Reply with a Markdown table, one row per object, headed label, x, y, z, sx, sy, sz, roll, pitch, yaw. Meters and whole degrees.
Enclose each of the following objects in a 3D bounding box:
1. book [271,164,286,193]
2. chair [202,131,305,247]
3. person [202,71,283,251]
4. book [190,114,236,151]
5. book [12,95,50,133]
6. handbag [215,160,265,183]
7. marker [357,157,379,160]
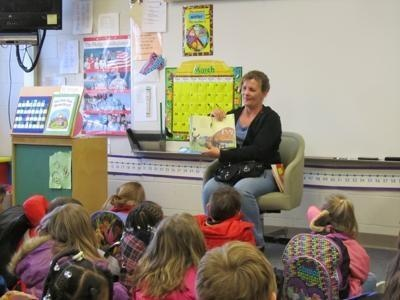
| label | x | y | z | sx | sy | sz | roll | pitch | yaw |
| --- | --- | --- | --- | --- | --- | --- | --- | --- | --- |
| book | 0.700 | 0.254 | 3.288 | 0.114 | 0.243 | 0.109 | 3 | 3 | 12 |
| chair | 0.471 | 0.300 | 3.478 | 0.816 | 1.051 | 0.834 | -2 | -4 | 39 |
| person | 0.440 | 0.094 | 3.467 | 0.795 | 1.549 | 0.587 | -15 | 16 | -21 |
| book | 0.111 | -0.150 | 3.308 | 0.327 | 0.367 | 0.081 | 0 | -6 | -11 |
| book | -1.753 | -0.377 | 3.843 | 0.394 | 0.409 | 0.095 | 3 | -12 | 18 |
| handbag | 0.358 | 0.213 | 3.292 | 0.448 | 0.226 | 0.191 | 3 | 3 | 6 |
| marker | 1.747 | 0.094 | 3.771 | 0.200 | 0.040 | 0.067 | 4 | 4 | 26 |
